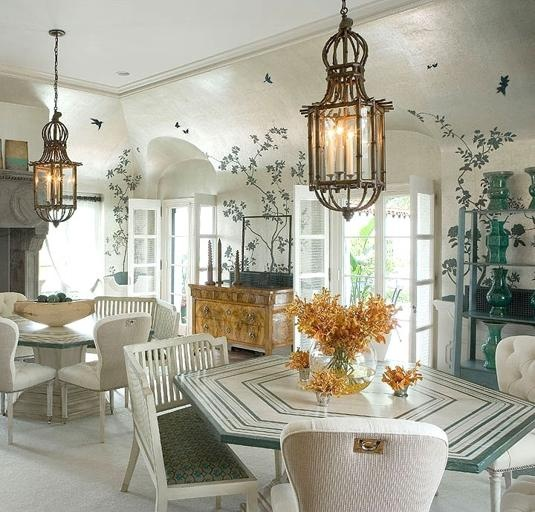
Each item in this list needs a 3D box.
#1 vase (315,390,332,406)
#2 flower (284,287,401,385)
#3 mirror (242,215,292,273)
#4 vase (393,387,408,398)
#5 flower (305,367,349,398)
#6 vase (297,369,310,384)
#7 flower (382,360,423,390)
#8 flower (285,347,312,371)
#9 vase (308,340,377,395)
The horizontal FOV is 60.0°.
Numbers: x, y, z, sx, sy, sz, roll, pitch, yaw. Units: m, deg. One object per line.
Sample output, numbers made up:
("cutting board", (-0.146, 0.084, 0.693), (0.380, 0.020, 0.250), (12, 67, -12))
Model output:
("vase", (0.227, 0.564, 1.848), (0.063, 0.064, 0.065), (3, -3, -43))
("flower", (0.325, 0.297, 2.095), (0.486, 0.441, 0.408), (-1, -2, -10))
("mirror", (0.017, -0.141, 5.554), (0.718, 0.678, 0.029), (2, 3, 43))
("vase", (0.555, 0.575, 1.927), (0.047, 0.036, 0.050), (2, -6, -31))
("flower", (0.245, 0.495, 1.842), (0.143, 0.094, 0.141), (-2, 2, -28))
("vase", (0.167, 0.559, 2.161), (0.062, 0.073, 0.064), (-4, -4, 32))
("flower", (0.592, 0.494, 1.954), (0.183, 0.124, 0.165), (-1, -2, -3))
("flower", (0.146, 0.482, 2.182), (0.114, 0.092, 0.110), (2, -5, -12))
("vase", (0.334, 0.462, 2.038), (0.238, 0.196, 0.234), (1, 0, 7))
